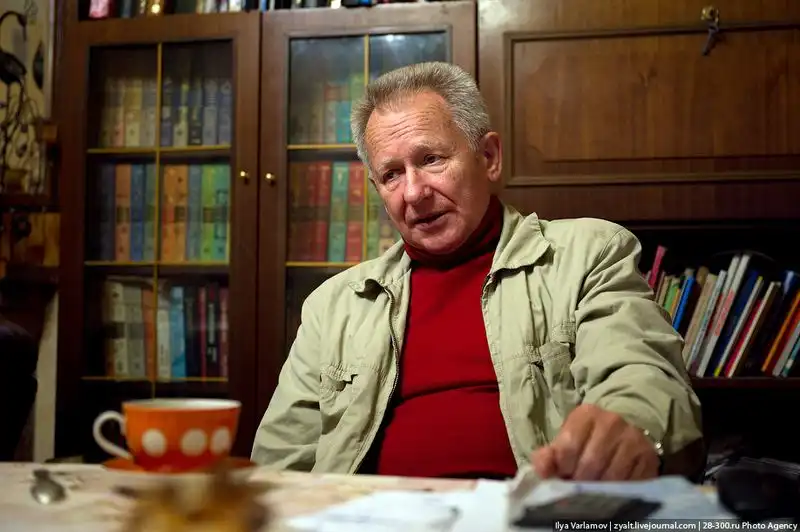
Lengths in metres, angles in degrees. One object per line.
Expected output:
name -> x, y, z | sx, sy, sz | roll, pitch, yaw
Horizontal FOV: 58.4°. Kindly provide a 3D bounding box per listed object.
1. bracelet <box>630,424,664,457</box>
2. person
bracelet -> 0.492, 0.349, 1.405 | 0.071, 0.017, 0.069 | 36, 7, 26
person -> 0.198, 0.017, 1.820 | 1.137, 1.111, 0.717 | 9, 10, 40
